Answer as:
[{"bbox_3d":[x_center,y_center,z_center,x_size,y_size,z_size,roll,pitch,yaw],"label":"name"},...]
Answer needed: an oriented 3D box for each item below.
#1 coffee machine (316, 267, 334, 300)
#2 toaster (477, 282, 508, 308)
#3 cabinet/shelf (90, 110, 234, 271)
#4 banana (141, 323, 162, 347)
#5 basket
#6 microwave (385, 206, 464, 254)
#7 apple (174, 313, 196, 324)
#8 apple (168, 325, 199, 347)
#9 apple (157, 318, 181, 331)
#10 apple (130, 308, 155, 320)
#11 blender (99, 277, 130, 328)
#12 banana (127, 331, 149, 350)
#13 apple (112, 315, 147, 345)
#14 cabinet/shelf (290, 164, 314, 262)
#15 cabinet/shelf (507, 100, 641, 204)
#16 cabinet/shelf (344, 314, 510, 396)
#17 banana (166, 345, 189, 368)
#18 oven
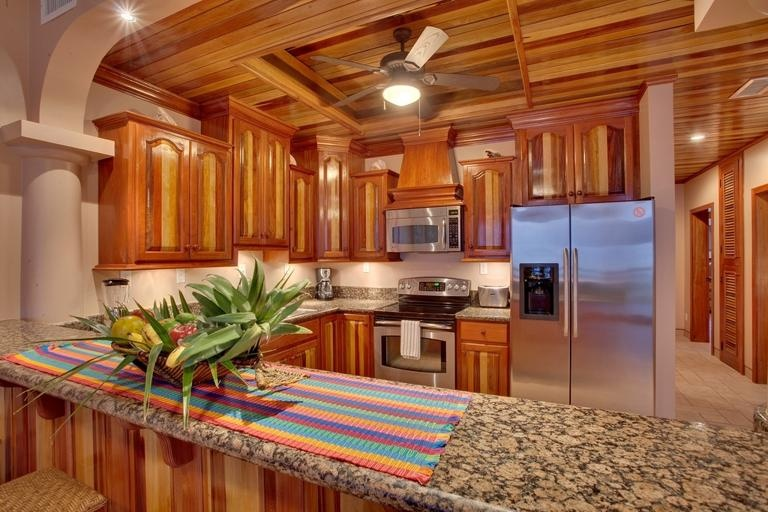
[{"bbox_3d":[-0.655,0.294,5.651,0.195,0.357,0.207,-2,-2,-7],"label":"coffee machine"},{"bbox_3d":[1.045,0.395,4.926,0.348,0.229,0.196,-3,-10,31],"label":"toaster"},{"bbox_3d":[-1.625,-0.479,3.888,0.985,1.104,0.359,-1,-2,-27],"label":"cabinet/shelf"},{"bbox_3d":[-1.142,0.391,2.507,0.047,0.118,0.097,-30,-9,-47],"label":"banana"},{"bbox_3d":[-0.987,0.544,2.513,0.387,0.092,0.378,-3,-6,32],"label":"basket"},{"bbox_3d":[0.372,-0.262,4.977,0.776,0.444,0.460,-1,-4,27],"label":"microwave"},{"bbox_3d":[-0.999,0.314,2.569,0.065,0.039,0.076,9,-4,-11],"label":"apple"},{"bbox_3d":[-0.956,0.379,2.461,0.105,0.094,0.162,0,-3,-40],"label":"apple"},{"bbox_3d":[-1.078,0.341,2.551,0.068,0.037,0.071,2,0,-10],"label":"apple"},{"bbox_3d":[-1.224,0.287,2.591,0.105,0.088,0.098,-1,-4,3],"label":"apple"},{"bbox_3d":[-2.072,0.350,3.887,0.248,0.345,0.246,-1,-2,23],"label":"blender"},{"bbox_3d":[-1.203,0.418,2.506,0.064,0.100,0.077,-13,-26,-43],"label":"banana"},{"bbox_3d":[-1.261,0.370,2.525,0.140,0.124,0.134,4,-3,-31],"label":"apple"},{"bbox_3d":[-0.808,-0.418,5.079,0.128,0.926,0.412,-3,-2,18],"label":"cabinet/shelf"},{"bbox_3d":[1.712,-0.927,4.463,1.094,0.835,0.441,-2,-5,23],"label":"cabinet/shelf"},{"bbox_3d":[0.588,0.776,4.352,1.133,0.642,0.600,-4,-11,31],"label":"cabinet/shelf"},{"bbox_3d":[-0.971,0.463,2.379,0.075,0.090,0.152,-1,-2,-26],"label":"banana"},{"bbox_3d":[0.378,0.820,4.929,0.914,0.733,0.590,-2,-8,22],"label":"oven"}]
